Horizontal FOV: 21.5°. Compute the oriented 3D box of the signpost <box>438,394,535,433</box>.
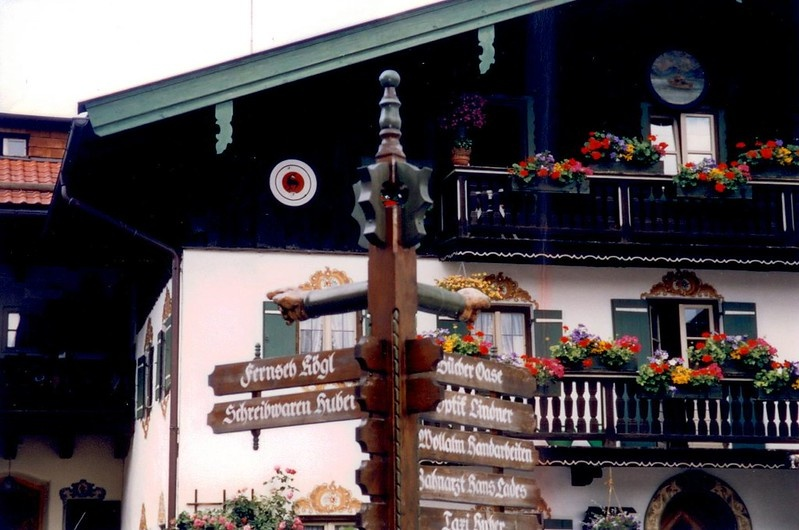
[{"bbox_3d":[0.979,2.297,33.373,0.080,0.556,2.511,22,-12,-41],"label":"signpost"}]

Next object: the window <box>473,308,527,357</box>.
[{"bbox_3d":[1.847,1.362,40.323,1.148,1.020,0.106,2,-14,-13],"label":"window"}]

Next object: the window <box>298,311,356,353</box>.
[{"bbox_3d":[-1.427,1.286,38.207,0.963,0.881,0.037,-5,-15,-1],"label":"window"}]

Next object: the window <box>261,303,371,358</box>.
[{"bbox_3d":[-1.619,1.202,36.746,1.231,0.802,0.191,0,-14,-11],"label":"window"}]

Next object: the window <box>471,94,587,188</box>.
[{"bbox_3d":[2.453,-2.331,41.289,2.382,1.961,1.240,-9,-2,-44],"label":"window"}]

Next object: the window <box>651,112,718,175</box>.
[{"bbox_3d":[5.619,-2.323,41.941,1.328,1.448,0.123,3,-14,-5],"label":"window"}]

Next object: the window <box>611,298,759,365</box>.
[{"bbox_3d":[5.615,1.467,41.568,2.812,1.549,0.062,1,-9,-9],"label":"window"}]

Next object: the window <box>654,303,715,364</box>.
[{"bbox_3d":[5.544,1.425,41.393,1.214,1.320,0.052,3,-15,-8],"label":"window"}]

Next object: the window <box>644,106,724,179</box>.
[{"bbox_3d":[5.598,-2.333,41.869,1.497,1.636,0.129,5,-18,-4],"label":"window"}]
